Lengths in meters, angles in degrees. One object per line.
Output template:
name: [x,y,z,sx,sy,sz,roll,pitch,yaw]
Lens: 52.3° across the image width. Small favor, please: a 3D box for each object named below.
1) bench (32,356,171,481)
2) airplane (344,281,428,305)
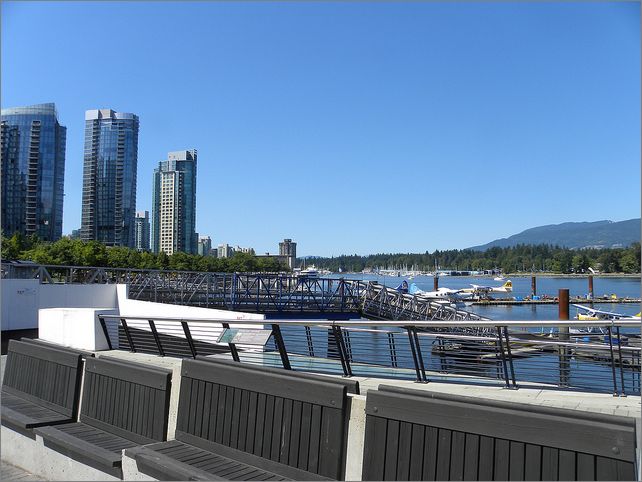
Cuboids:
bench: [-2.056,1.718,6.664,1.614,1.191,0.919,-1,-9,31]
airplane: [3.331,2.856,35.825,3.623,1.418,2.613,1,-3,-20]
